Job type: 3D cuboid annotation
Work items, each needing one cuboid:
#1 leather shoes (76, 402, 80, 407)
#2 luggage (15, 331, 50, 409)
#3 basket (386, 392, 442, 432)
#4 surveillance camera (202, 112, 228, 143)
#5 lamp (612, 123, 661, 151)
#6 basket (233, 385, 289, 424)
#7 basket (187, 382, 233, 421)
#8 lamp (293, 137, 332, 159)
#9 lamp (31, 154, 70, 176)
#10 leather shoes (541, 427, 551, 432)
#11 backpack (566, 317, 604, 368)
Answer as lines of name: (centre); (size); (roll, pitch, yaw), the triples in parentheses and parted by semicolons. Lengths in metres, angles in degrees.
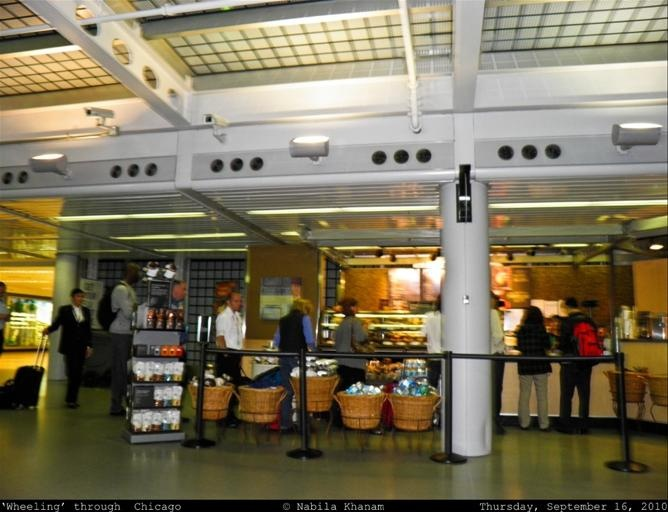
leather shoes: (-4.643, 2.714, 9.579); (0.104, 0.037, 0.139); (22, -31, 1)
luggage: (-5.313, 2.260, 9.233); (0.475, 0.919, 0.418); (-7, 8, -34)
basket: (1.009, 1.983, 6.631); (0.553, 0.346, 0.487); (1, -20, -1)
surveillance camera: (-1.724, -1.896, 7.742); (0.200, 0.361, 0.658); (-1, 3, 9)
lamp: (3.825, -1.522, 6.713); (0.483, 0.285, 0.351); (2, 2, 5)
basket: (-1.039, 2.102, 7.402); (0.637, 0.358, 0.565); (2, -14, -5)
basket: (-1.780, 2.023, 7.442); (0.580, 0.400, 0.558); (7, -12, -28)
lamp: (-0.335, -1.525, 7.362); (0.544, 0.319, 0.344); (-2, 7, -3)
lamp: (-4.432, -1.437, 8.308); (0.522, 0.323, 0.467); (-2, 7, 0)
leather shoes: (2.437, 2.007, 6.048); (0.048, 0.051, 0.124); (0, -15, 3)
backpack: (3.623, 1.278, 7.683); (0.692, 0.859, 0.496); (10, -16, -43)
